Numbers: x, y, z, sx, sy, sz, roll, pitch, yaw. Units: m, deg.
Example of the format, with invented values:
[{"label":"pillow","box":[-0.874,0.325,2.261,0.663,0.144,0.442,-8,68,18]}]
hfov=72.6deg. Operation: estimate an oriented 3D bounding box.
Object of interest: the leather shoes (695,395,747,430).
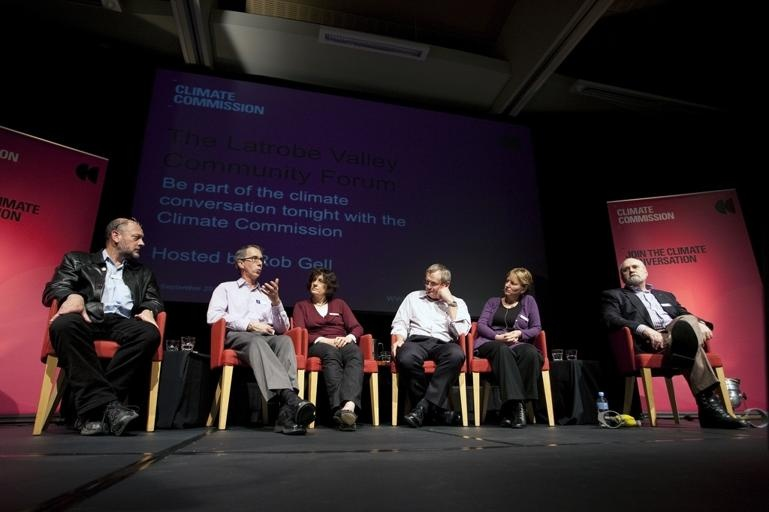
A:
[{"label":"leather shoes","box":[2.484,1.139,3.875,0.276,0.237,0.256,-10,-16,27]}]

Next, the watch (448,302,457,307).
[{"label":"watch","box":[0.602,0.424,4.612,0.051,0.029,0.037,-1,1,-20]}]

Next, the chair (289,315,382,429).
[{"label":"chair","box":[-0.440,0.991,4.716,0.889,1.071,0.841,-15,-22,36]}]

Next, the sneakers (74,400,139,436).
[{"label":"sneakers","box":[-1.753,1.060,3.406,0.484,0.224,0.166,-18,-23,20]}]

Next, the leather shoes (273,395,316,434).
[{"label":"leather shoes","box":[-0.633,1.137,3.683,0.155,0.287,0.403,13,-42,-30]}]

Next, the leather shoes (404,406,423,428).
[{"label":"leather shoes","box":[0.229,1.242,4.082,0.140,0.161,0.167,-6,-15,13]}]

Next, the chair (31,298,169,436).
[{"label":"chair","box":[-2.175,0.686,4.046,0.912,1.301,0.906,6,-5,-20]}]

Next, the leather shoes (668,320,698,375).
[{"label":"leather shoes","box":[2.341,0.689,4.120,0.143,0.443,0.185,0,0,32]}]

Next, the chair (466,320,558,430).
[{"label":"chair","box":[1.026,1.105,4.785,0.776,1.284,0.883,2,-24,-1]}]

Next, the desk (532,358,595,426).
[{"label":"desk","box":[1.697,1.241,4.928,0.612,0.504,0.600,-3,-9,-18]}]

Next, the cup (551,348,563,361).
[{"label":"cup","box":[1.670,0.947,5.046,0.122,0.108,0.140,2,-16,-5]}]

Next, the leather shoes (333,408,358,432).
[{"label":"leather shoes","box":[-0.293,1.215,3.880,0.094,0.116,0.255,-3,-33,-3]}]

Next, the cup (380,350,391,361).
[{"label":"cup","box":[0.017,0.935,4.920,0.059,0.058,0.060,-1,-4,0]}]

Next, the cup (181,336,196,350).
[{"label":"cup","box":[-1.644,0.729,4.370,0.126,0.134,0.124,1,-15,0]}]

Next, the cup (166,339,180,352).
[{"label":"cup","box":[-1.760,0.748,4.384,0.107,0.090,0.116,1,-15,0]}]

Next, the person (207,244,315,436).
[{"label":"person","box":[-0.913,0.573,4.095,1.039,1.512,0.517,-15,-19,40]}]

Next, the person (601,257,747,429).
[{"label":"person","box":[2.487,0.654,4.460,0.751,1.466,0.972,7,-17,-31]}]

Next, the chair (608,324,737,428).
[{"label":"chair","box":[2.407,0.980,4.536,0.761,0.901,0.815,-2,-16,10]}]

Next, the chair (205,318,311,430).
[{"label":"chair","box":[-1.108,0.914,4.423,0.726,0.921,0.708,-1,-14,44]}]

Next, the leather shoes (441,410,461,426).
[{"label":"leather shoes","box":[0.552,1.353,4.380,0.097,0.058,0.164,2,-5,-15]}]

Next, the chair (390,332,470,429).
[{"label":"chair","box":[0.385,1.082,4.639,0.667,0.762,0.773,-2,-14,0]}]

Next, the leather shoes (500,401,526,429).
[{"label":"leather shoes","box":[1.025,1.252,4.168,0.197,0.194,0.328,-5,-15,11]}]
